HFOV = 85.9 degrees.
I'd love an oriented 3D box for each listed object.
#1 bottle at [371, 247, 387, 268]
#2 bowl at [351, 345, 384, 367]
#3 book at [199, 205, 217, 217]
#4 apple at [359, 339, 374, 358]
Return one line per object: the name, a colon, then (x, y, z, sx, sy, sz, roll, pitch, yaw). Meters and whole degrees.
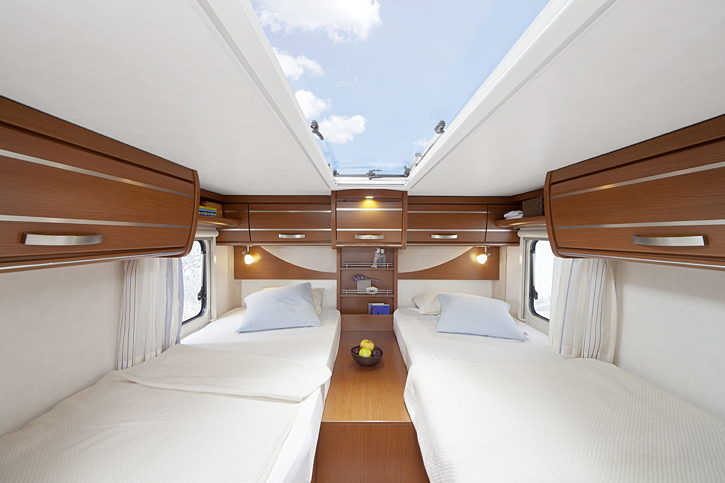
bottle: (0.174, 0.149, 4.208, 0.192, 0.188, 0.206, 2, -94, -13)
bowl: (0.032, 0.993, 3.375, 0.263, 0.203, 0.195, 2, -55, 6)
book: (-1.356, -0.272, 3.379, 0.140, 0.152, 0.033, -10, -96, 29)
apple: (0.038, 0.924, 3.342, 0.117, 0.120, 0.148, 2, -98, 2)
